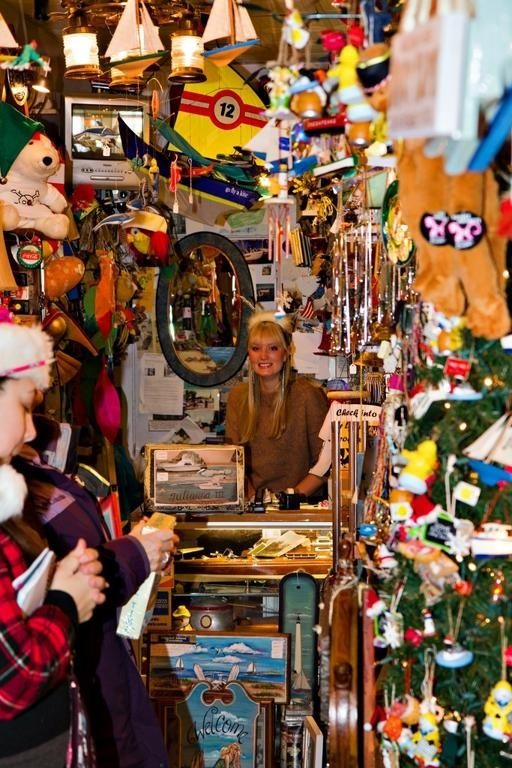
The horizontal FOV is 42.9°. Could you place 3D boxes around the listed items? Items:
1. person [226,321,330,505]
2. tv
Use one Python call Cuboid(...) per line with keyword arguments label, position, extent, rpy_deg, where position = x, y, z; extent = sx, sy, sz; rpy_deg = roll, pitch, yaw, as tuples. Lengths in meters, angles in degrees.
Cuboid(label="person", position=(0.181, 0.107, 4.024), extent=(0.527, 1.106, 0.308), rpy_deg=(3, 0, 1))
Cuboid(label="tv", position=(-1.073, -1.741, 4.883), extent=(0.720, 0.758, 0.555), rpy_deg=(-1, 10, -6))
